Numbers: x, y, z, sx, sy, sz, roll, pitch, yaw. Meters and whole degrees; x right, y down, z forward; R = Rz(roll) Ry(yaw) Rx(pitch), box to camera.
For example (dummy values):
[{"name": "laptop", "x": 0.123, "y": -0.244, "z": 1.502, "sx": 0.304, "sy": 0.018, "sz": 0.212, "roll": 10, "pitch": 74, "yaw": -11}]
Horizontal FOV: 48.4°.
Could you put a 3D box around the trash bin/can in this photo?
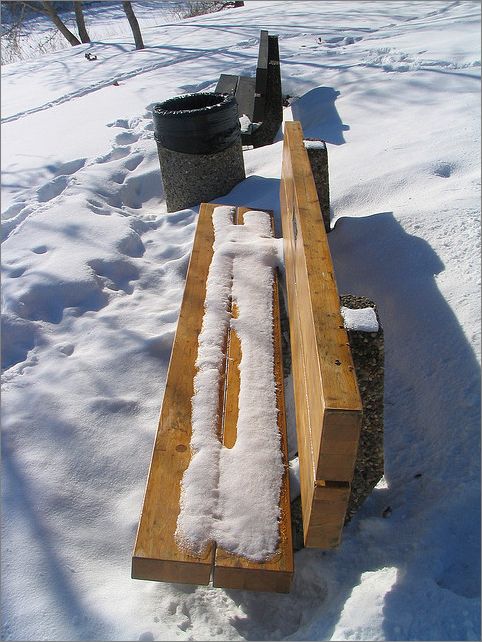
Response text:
[{"name": "trash bin/can", "x": -0.292, "y": -1.276, "z": 4.322, "sx": 0.706, "sy": 0.949, "sz": 0.636, "roll": 13, "pitch": 48, "yaw": 24}]
